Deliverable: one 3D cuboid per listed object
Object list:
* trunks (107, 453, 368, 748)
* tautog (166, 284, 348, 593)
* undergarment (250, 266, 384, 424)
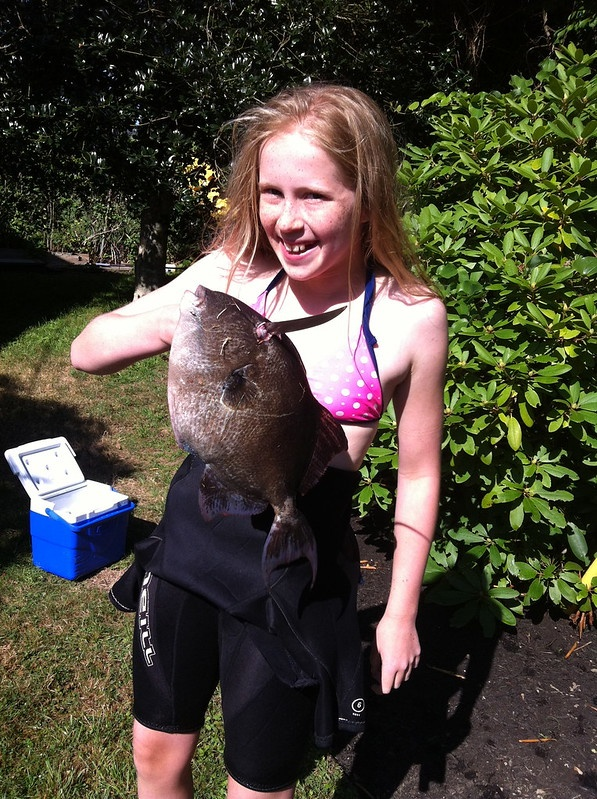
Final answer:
[{"bbox_3d":[-0.150,0.393,1.661,0.615,0.521,0.345,21,26,26],"label":"trunks"},{"bbox_3d":[-0.073,0.091,1.386,0.396,0.628,0.234,-2,21,-16],"label":"tautog"},{"bbox_3d":[0.091,-0.154,1.757,0.334,0.346,0.364,-4,17,-21],"label":"undergarment"}]
